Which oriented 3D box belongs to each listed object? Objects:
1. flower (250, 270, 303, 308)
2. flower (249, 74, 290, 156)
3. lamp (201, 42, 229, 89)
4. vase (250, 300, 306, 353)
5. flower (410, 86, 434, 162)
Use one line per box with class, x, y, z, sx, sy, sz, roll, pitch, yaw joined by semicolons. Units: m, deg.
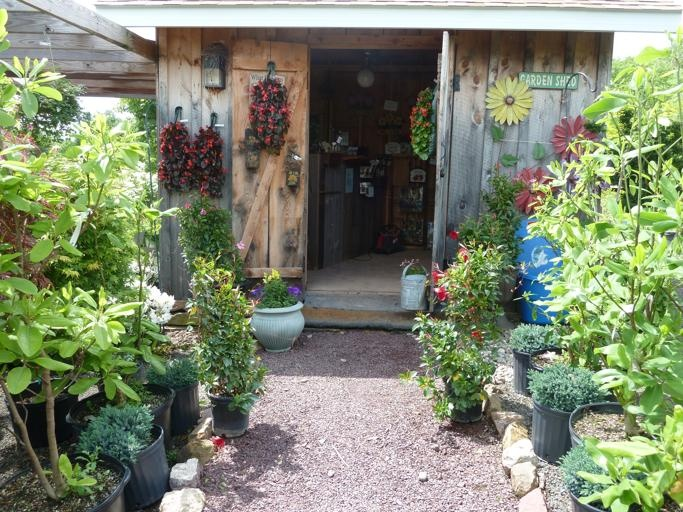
flower;-0.717;0.346;5.667;0.303;0.325;0.329;-6;25;10
flower;-0.789;-1.492;5.894;0.417;0.794;0.269;1;7;-3
lamp;-1.393;-2.111;6.119;0.275;0.465;0.288;-2;12;-12
vase;-0.676;0.727;5.732;0.554;0.500;0.617;-2;6;-19
flower;0.957;-1.561;6.495;0.283;0.798;0.520;2;14;10
